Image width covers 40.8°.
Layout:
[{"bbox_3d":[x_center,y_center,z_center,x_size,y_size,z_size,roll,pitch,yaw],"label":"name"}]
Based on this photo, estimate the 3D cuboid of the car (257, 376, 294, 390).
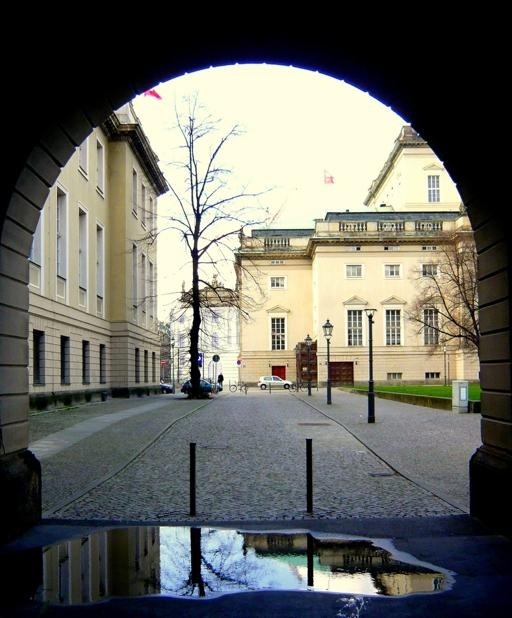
[{"bbox_3d":[1.678,6.979,63.122,2.691,1.344,1.426,-2,0,3],"label":"car"}]
